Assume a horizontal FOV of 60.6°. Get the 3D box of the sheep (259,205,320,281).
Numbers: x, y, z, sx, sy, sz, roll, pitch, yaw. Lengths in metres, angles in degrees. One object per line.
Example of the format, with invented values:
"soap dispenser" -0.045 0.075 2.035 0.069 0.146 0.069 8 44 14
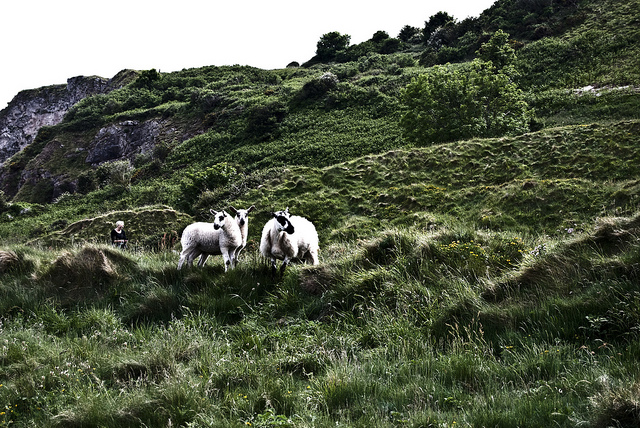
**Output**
"sheep" -0.939 1.198 19.881 1.941 2.631 1.516 8 -20 -37
